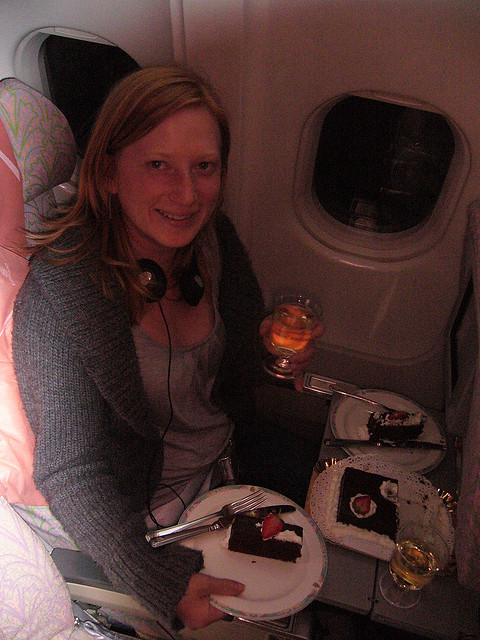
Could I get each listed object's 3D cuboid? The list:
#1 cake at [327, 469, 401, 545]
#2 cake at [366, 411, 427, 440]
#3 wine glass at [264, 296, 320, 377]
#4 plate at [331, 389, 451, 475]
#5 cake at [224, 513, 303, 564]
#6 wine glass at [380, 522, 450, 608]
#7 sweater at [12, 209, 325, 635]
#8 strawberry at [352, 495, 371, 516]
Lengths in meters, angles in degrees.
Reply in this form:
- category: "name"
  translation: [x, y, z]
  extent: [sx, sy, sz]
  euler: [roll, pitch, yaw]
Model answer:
- category: "cake"
  translation: [0.256, 0.377, 1.136]
  extent: [0.142, 0.055, 0.145]
  euler: [7, 35, 13]
- category: "cake"
  translation: [0.389, 0.257, 1.342]
  extent: [0.120, 0.045, 0.074]
  euler: [-3, 44, 3]
- category: "wine glass"
  translation: [0.151, 0.052, 1.503]
  extent: [0.150, 0.241, 0.157]
  euler: [0, 7, 39]
- category: "plate"
  translation: [0.373, 0.272, 1.396]
  extent: [0.257, 0.161, 0.216]
  euler: [0, 26, -2]
- category: "cake"
  translation: [0.050, 0.402, 0.999]
  extent: [0.119, 0.044, 0.074]
  euler: [3, 29, 8]
- category: "wine glass"
  translation: [0.335, 0.458, 1.032]
  extent: [0.104, 0.100, 0.172]
  euler: [18, 39, 27]
- category: "sweater"
  translation: [-0.180, 0.362, 1.305]
  extent: [0.642, 1.046, 0.580]
  euler: [7, 25, 2]
- category: "strawberry"
  translation: [0.247, 0.379, 1.111]
  extent: [0.036, 0.029, 0.027]
  euler: [-1, 34, 1]
